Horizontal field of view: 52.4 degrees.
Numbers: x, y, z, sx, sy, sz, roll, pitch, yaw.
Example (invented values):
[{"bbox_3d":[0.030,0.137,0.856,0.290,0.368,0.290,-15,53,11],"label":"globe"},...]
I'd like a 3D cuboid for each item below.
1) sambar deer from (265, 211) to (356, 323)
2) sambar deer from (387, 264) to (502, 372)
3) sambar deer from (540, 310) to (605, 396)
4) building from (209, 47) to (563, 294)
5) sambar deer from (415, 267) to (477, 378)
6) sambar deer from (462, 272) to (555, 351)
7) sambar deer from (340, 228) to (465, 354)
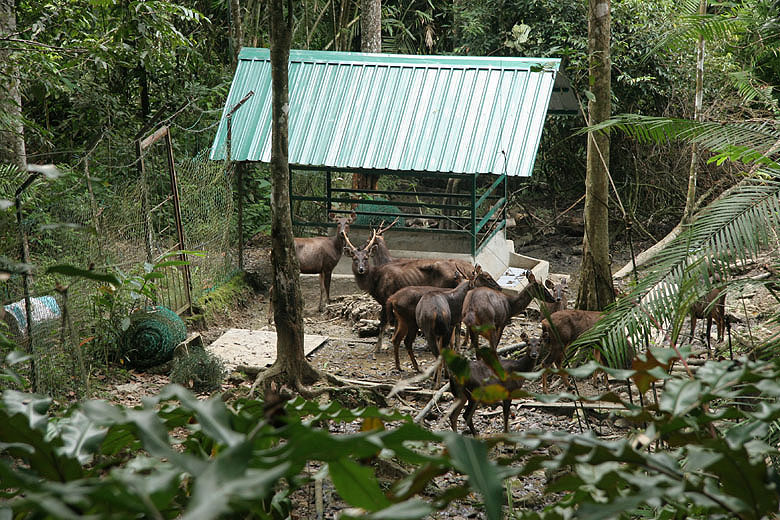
[{"bbox_3d":[-1.153,0.123,13.008,1.846,1.525,0.567,-8,14,-30],"label":"sambar deer"},{"bbox_3d":[0.660,0.771,10.049,1.430,1.284,0.569,-3,1,21],"label":"sambar deer"},{"bbox_3d":[2.247,0.998,9.252,1.224,0.923,0.333,-1,-2,-15],"label":"sambar deer"},{"bbox_3d":[0.138,-1.675,15.055,6.877,4.608,4.770,3,3,16],"label":"building"},{"bbox_3d":[0.806,0.747,10.259,0.418,1.254,1.563,-5,5,26],"label":"sambar deer"},{"bbox_3d":[1.455,0.754,10.344,0.397,1.144,1.336,-5,-5,42],"label":"sambar deer"},{"bbox_3d":[0.518,0.330,12.039,2.221,2.483,0.858,0,0,-7],"label":"sambar deer"}]
